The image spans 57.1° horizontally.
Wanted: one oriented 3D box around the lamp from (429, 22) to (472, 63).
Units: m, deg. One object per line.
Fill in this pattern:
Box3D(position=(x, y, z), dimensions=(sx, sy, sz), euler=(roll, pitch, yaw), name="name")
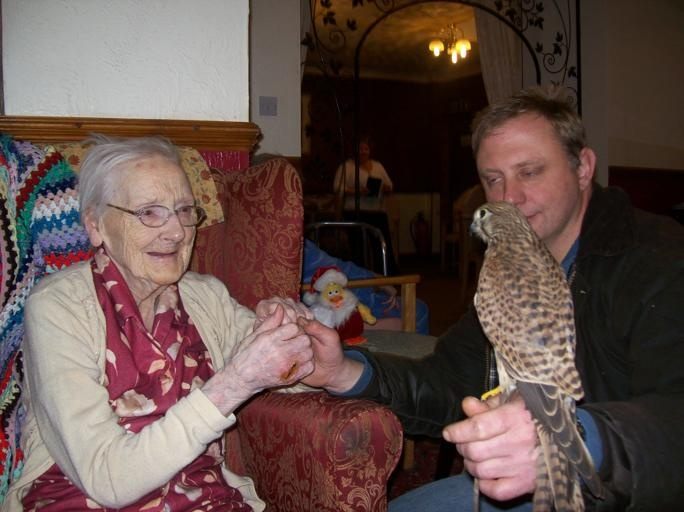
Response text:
Box3D(position=(1.425, -2.864, 8.326), dimensions=(0.499, 0.430, 0.555), euler=(6, 13, 44), name="lamp")
